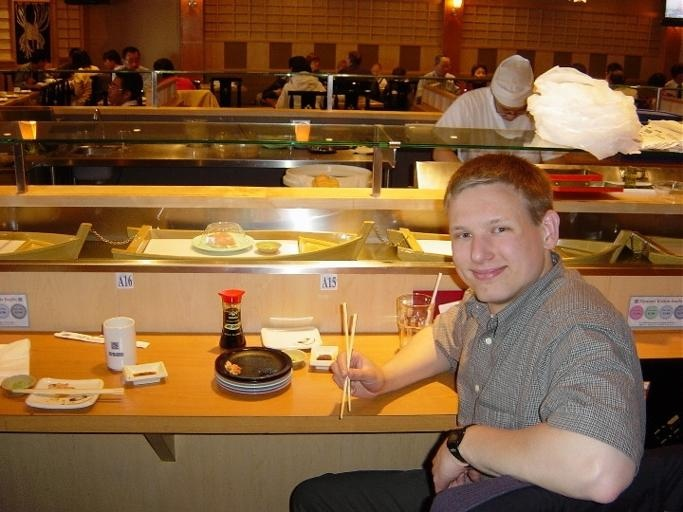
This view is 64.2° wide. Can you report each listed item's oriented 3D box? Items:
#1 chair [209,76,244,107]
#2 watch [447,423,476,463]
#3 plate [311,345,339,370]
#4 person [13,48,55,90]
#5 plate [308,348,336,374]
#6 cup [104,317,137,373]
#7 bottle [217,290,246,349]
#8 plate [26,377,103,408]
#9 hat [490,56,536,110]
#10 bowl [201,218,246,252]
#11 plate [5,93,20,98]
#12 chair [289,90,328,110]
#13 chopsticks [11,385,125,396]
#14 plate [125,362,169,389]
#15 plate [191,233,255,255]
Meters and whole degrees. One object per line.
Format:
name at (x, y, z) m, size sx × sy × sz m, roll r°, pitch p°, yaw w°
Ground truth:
chair at (-1.697, -2.393, 7.944) m, size 0.379 × 0.467 × 1.886 m, roll -4°, pitch 16°, yaw -11°
watch at (0.299, 0.482, 1.427) m, size 0.083 × 0.090 × 0.118 m, roll -11°, pitch -19°, yaw 35°
plate at (-0.057, 0.359, 1.936) m, size 0.085 × 0.031 × 0.094 m, roll -2°, pitch 20°, yaw -2°
person at (-4.600, -2.641, 8.130) m, size 0.526 × 0.700 × 0.438 m, roll 11°, pitch 15°, yaw -26°
plate at (-0.065, 0.369, 1.936) m, size 0.085 × 0.031 × 0.092 m, roll -2°, pitch 21°, yaw -3°
cup at (-0.748, 0.302, 1.859) m, size 0.141 × 0.165 × 0.105 m, roll 16°, pitch 24°, yaw 41°
bottle at (-0.405, 0.230, 1.997) m, size 0.097 × 0.223 × 0.088 m, roll -5°, pitch 20°, yaw -11°
plate at (-0.869, 0.428, 1.723) m, size 0.204 × 0.042 × 0.156 m, roll -2°, pitch 15°, yaw -5°
hat at (0.900, -0.912, 2.869) m, size 0.213 × 0.277 × 0.295 m, roll 4°, pitch 18°, yaw 14°
bowl at (-0.462, -0.082, 2.138) m, size 0.143 × 0.063 × 0.123 m, roll 1°, pitch 14°, yaw -1°
plate at (-3.986, -1.928, 6.596) m, size 0.175 × 0.038 × 0.200 m, roll 3°, pitch 20°, yaw -8°
chair at (-0.383, -1.713, 6.033) m, size 0.405 × 0.187 × 0.825 m, roll -2°, pitch 15°, yaw -5°
chopsticks at (-0.878, 0.422, 1.720) m, size 0.308 × 0.025 × 0.028 m, roll 1°, pitch -23°, yaw -5°
plate at (-0.654, 0.395, 1.818) m, size 0.091 × 0.024 × 0.086 m, roll -2°, pitch 16°, yaw -18°
plate at (-0.460, -0.047, 2.135) m, size 0.140 × 0.016 × 0.137 m, roll -13°, pitch 26°, yaw -37°
